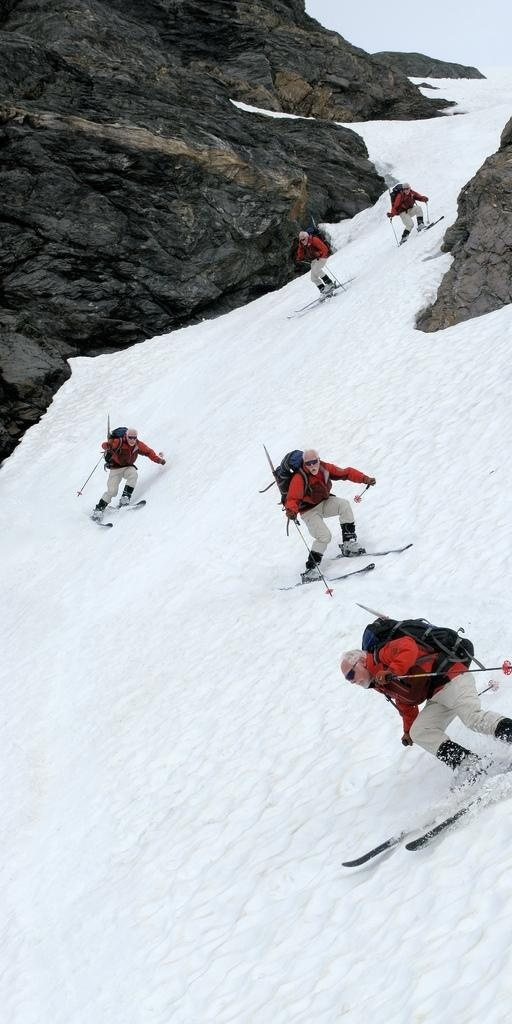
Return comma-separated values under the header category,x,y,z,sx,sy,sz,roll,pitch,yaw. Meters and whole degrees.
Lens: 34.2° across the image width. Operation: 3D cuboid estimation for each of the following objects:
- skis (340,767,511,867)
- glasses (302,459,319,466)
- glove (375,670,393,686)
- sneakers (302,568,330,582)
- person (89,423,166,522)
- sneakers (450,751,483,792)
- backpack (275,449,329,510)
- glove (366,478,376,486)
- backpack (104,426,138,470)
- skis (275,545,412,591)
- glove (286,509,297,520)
category,x,y,z,sx,sy,sz,roll,pitch,yaw
skis,1.373,2.407,6.534,1.735,0.195,0.206,-29,1,-20
glasses,0.706,-0.642,10.450,0.190,0.094,0.103,-12,21,-9
glove,1.018,1.293,6.529,0.081,0.046,0.128,1,59,10
sneakers,0.787,0.867,11.363,0.365,0.170,0.132,-11,5,42
person,-2.797,-0.754,17.663,1.189,2.051,1.105,14,1,22
sneakers,1.661,2.071,6.591,0.294,0.130,0.221,-50,2,1
backpack,0.634,-0.415,10.910,0.404,0.793,0.560,40,57,22
glove,1.499,-0.375,10.615,0.093,0.075,0.160,3,15,-7
backpack,-2.834,-1.337,17.706,0.469,0.744,0.793,34,57,6
skis,1.257,0.763,11.269,1.676,0.269,0.135,-19,-26,30
glove,0.467,0.024,10.649,0.122,0.072,0.098,12,2,-12
